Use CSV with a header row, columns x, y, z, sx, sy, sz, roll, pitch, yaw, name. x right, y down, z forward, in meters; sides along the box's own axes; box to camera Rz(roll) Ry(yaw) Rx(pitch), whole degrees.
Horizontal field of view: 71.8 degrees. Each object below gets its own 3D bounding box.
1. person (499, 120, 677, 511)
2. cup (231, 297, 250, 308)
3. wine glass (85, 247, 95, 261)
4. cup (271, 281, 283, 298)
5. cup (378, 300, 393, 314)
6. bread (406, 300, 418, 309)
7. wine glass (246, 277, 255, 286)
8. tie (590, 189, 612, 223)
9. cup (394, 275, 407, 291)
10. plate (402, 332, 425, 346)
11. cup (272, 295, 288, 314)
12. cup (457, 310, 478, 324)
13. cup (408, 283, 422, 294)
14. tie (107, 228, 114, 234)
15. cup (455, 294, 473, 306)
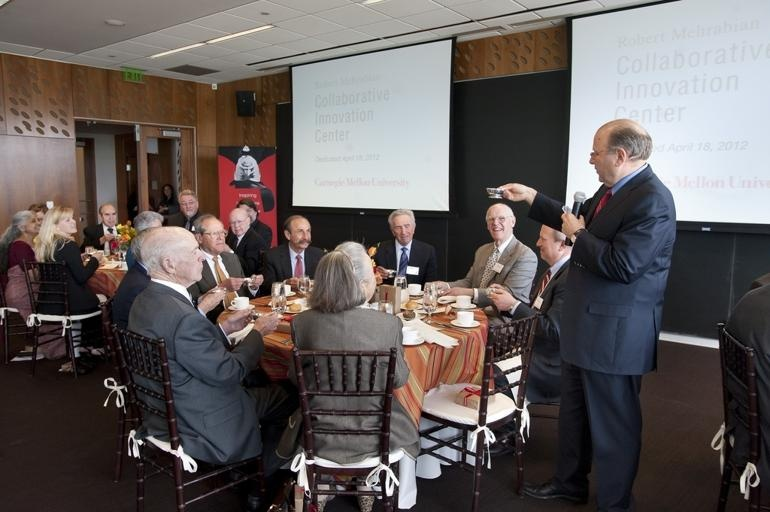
x,y,z,sx,sy,sz,roll,pitch,yaw,name
1.466,0.430,3.613,0.811,2.620,0.513,4,11,29,person
-1.147,0.373,4.180,0.110,0.074,0.085,-5,13,-21,cup
-3.441,-0.008,6.173,0.109,0.161,0.053,4,-7,5,wine glass
-0.815,0.259,4.001,0.077,0.102,0.128,-8,11,-32,cup
-0.009,0.386,3.936,0.064,0.107,0.109,-1,-1,33,cup
0.206,0.394,4.218,0.066,0.046,0.133,1,-1,7,bread
-1.110,0.213,4.381,0.049,0.060,0.064,1,-14,-4,wine glass
1.457,-0.341,3.573,0.052,0.054,0.378,16,42,20,tie
0.126,0.222,4.274,0.094,0.104,0.096,-1,-1,0,cup
0.199,0.562,3.637,0.094,0.089,0.176,8,13,43,plate
-0.807,0.368,4.045,0.110,0.160,0.216,-4,10,-13,cup
0.603,0.468,3.987,0.094,0.074,0.101,0,-3,0,cup
0.261,0.294,4.662,0.089,0.071,0.087,-4,3,0,cup
-3.772,-0.328,7.268,0.088,0.091,0.025,-3,0,-7,tie
0.631,0.364,4.287,0.091,0.066,0.085,-1,-4,0,cup
